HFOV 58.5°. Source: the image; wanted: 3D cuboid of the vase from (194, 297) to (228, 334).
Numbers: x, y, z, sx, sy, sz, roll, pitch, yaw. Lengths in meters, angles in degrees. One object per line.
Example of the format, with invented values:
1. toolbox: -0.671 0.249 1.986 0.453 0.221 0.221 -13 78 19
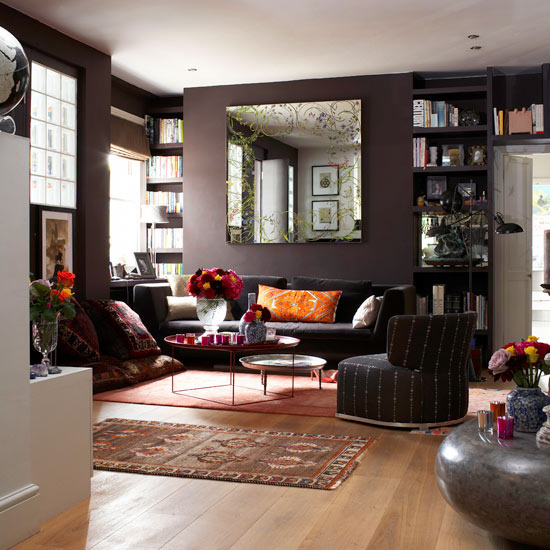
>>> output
1. vase: -0.580 0.365 4.518 0.325 0.342 0.322 0 -6 29

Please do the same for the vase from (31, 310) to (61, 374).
1. vase: -0.991 0.290 2.140 0.105 0.251 0.364 2 -3 -25

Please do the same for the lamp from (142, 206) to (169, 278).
1. lamp: -1.666 -0.469 6.828 0.336 0.998 0.713 1 -3 -12

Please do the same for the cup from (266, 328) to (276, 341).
1. cup: -0.025 0.500 4.144 0.084 0.077 0.080 2 2 0

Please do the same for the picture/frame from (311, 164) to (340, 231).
1. picture/frame: 0.646 -0.985 6.263 0.325 0.820 0.129 0 -3 8

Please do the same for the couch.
1. couch: 0.076 0.537 5.663 2.700 0.911 0.925 1 6 15

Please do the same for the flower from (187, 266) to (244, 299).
1. flower: -0.495 0.079 4.396 0.332 0.184 0.339 1 -2 25

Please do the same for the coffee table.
1. coffee table: -0.040 0.733 4.273 1.133 0.356 0.816 0 1 -41

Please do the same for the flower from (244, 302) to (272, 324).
1. flower: -0.156 0.320 4.127 0.200 0.149 0.195 -1 -3 30

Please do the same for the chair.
1. chair: 0.957 0.659 3.585 0.991 0.741 0.956 1 -6 12

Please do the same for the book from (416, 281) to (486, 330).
1. book: 2.155 0.337 5.867 0.986 0.616 0.595 0 -3 11

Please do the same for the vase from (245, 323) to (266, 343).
1. vase: -0.152 0.470 4.021 0.173 0.192 0.167 1 -8 -5

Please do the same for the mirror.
1. mirror: 0.334 -1.345 6.336 2.116 2.038 0.041 0 0 7

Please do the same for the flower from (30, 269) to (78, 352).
1. flower: -0.915 0.156 2.104 0.217 0.337 0.209 0 -10 32

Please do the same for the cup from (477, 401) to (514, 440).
1. cup: 0.826 0.549 1.839 0.104 0.083 0.129 -1 -4 9
